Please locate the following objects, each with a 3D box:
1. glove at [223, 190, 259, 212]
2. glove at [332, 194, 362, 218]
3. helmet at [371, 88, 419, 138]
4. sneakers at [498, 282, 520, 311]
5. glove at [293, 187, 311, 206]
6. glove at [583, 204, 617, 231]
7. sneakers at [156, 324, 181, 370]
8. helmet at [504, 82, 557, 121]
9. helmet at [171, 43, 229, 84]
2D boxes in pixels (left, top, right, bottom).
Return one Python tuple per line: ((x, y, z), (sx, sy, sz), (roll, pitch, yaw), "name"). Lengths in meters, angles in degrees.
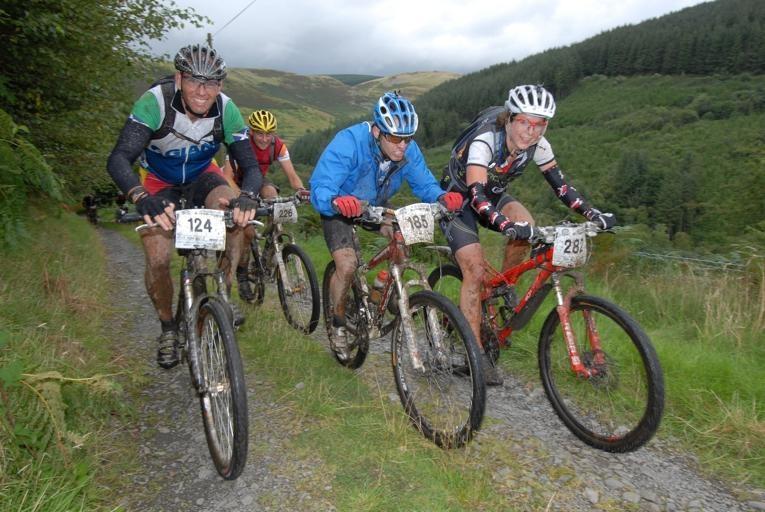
((-1.432, -0.556, 5.147), (0.266, 0.080, 0.276), (13, 21, -1), "glove")
((-0.358, -0.508, 5.229), (0.303, 0.224, 0.221), (-1, 13, -4), "glove")
((0.132, -1.544, 5.454), (0.445, 0.496, 0.429), (0, 13, 0), "helmet")
((1.535, 0.480, 6.108), (0.200, 0.288, 0.122), (-21, -13, 1), "sneakers")
((-1.222, -0.922, 7.803), (0.243, 0.119, 0.332), (3, 51, 3), "glove")
((2.407, -0.428, 5.668), (0.295, 0.133, 0.292), (9, 21, -43), "glove")
((-2.540, 1.083, 6.011), (0.223, 0.240, 0.606), (-1, 16, -19), "sneakers")
((1.800, -1.798, 5.776), (0.420, 0.258, 0.607), (12, 36, 18), "helmet")
((-1.885, -1.998, 5.224), (0.498, 0.357, 0.295), (-5, 14, -22), "helmet")
